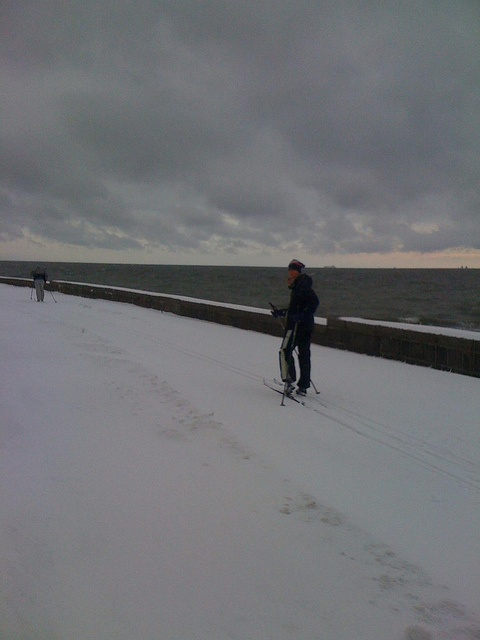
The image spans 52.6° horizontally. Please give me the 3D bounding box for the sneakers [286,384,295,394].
[{"bbox_3d":[0.697,0.983,6.763,0.086,0.130,0.214,1,-5,0],"label":"sneakers"}]

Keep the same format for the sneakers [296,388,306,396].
[{"bbox_3d":[0.877,1.035,6.935,0.092,0.051,0.132,6,2,7],"label":"sneakers"}]
